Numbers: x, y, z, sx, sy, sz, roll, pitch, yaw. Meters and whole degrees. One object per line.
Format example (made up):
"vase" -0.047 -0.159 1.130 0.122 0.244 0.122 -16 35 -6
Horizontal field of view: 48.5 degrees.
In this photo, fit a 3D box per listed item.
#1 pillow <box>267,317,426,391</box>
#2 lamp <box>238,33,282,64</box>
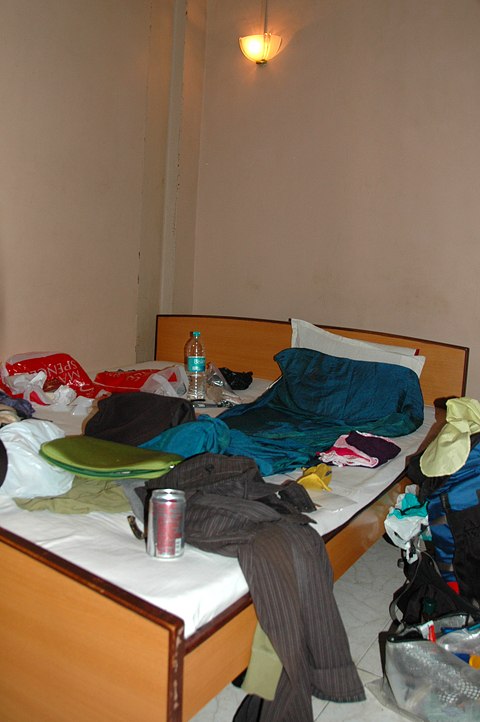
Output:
"pillow" 0.588 -0.075 2.750 0.559 0.180 0.323 13 27 23
"lamp" 0.129 -2.027 3.451 0.189 0.135 0.236 14 26 23
